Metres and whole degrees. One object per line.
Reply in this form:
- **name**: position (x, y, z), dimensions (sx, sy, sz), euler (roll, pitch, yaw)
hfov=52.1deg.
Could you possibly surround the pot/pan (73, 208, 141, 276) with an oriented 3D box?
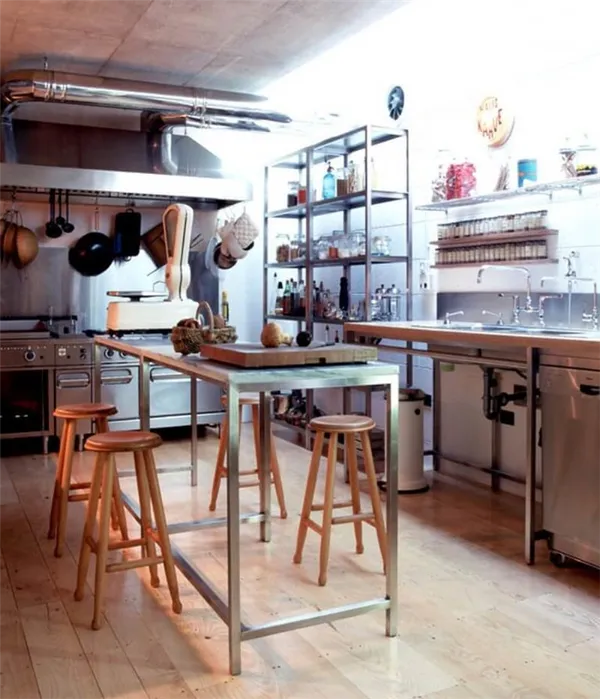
- **pot/pan**: position (-1.697, -0.946, 5.375), dimensions (0.610, 0.623, 0.156), euler (-1, 3, -15)

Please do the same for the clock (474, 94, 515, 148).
- **clock**: position (1.155, -1.363, 3.657), dimensions (0.065, 0.322, 0.280), euler (-1, 3, -19)

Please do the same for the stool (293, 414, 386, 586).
- **stool**: position (0.175, 0.605, 2.533), dimensions (0.478, 0.586, 0.444), euler (-2, -3, 27)

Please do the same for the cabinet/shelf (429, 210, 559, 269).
- **cabinet/shelf**: position (1.104, -0.630, 3.599), dimensions (0.150, 0.298, 0.861), euler (-2, 3, -27)

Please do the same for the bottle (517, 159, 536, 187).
- **bottle**: position (1.215, -0.944, 3.297), dimensions (0.106, 0.157, 0.183), euler (1, 3, 20)

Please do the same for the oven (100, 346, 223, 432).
- **oven**: position (-1.052, 0.334, 5.223), dimensions (1.106, 0.628, 0.595), euler (-2, -2, 10)

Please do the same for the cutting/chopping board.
- **cutting/chopping board**: position (-0.047, 0.018, 2.003), dimensions (0.449, 0.059, 0.430), euler (-1, 3, -26)
